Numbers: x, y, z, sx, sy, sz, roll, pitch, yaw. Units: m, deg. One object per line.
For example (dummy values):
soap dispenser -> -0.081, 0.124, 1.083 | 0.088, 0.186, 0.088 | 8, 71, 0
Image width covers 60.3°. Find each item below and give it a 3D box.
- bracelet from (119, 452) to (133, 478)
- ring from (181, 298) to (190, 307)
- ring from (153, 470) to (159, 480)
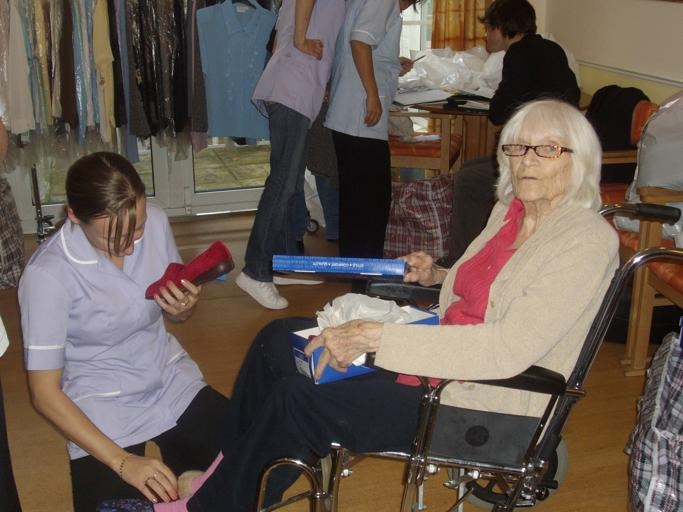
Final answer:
bracelet -> -0.643, 0.617, 1.731 | 0.014, 0.058, 0.048 | 30, 27, -25
ring -> -0.497, 0.150, 1.877 | 0.016, 0.023, 0.007 | -40, -17, 31
ring -> -0.544, 0.647, 1.729 | 0.015, 0.012, 0.005 | 4, 25, 31
